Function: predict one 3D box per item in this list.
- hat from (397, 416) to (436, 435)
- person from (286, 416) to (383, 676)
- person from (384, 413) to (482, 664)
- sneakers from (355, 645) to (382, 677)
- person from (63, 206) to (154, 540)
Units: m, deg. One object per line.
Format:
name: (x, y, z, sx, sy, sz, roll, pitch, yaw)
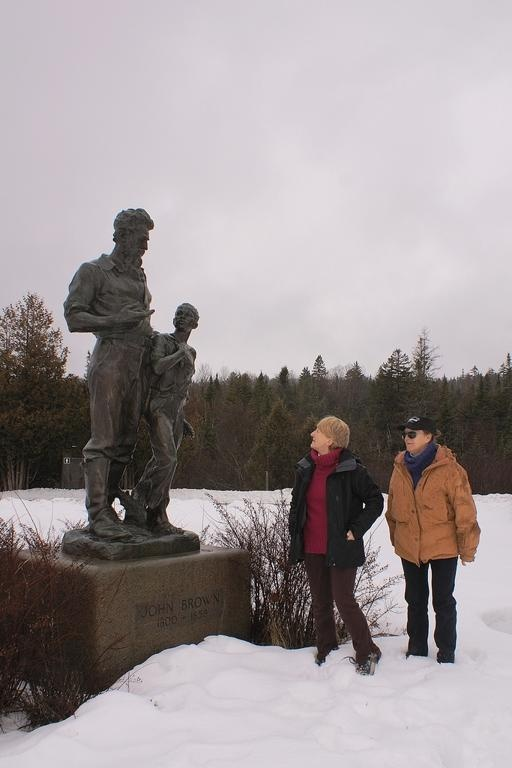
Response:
hat: (1.029, 0.292, 5.045, 0.177, 0.095, 0.125, 23, -11, -6)
person: (0.490, 0.932, 4.753, 0.328, 1.149, 0.706, 7, -3, -42)
person: (1.085, 0.937, 4.959, 0.330, 1.048, 0.721, 6, -3, -30)
sneakers: (0.641, 1.571, 4.539, 0.094, 0.070, 0.205, 3, 38, 8)
person: (-0.985, -0.111, 5.238, 0.560, 1.966, 0.593, 5, -2, -8)
